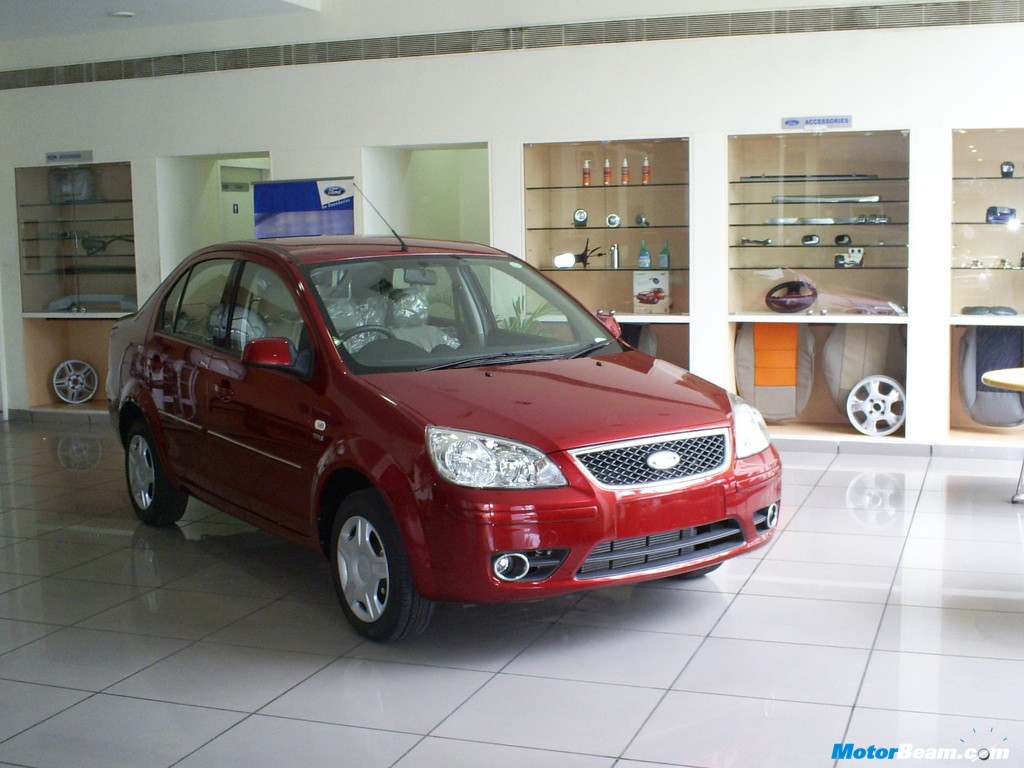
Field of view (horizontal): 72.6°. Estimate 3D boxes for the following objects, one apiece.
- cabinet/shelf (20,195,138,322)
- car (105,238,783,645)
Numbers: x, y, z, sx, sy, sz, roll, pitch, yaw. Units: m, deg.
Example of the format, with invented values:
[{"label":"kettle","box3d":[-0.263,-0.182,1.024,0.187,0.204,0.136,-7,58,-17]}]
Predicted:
[{"label":"cabinet/shelf","box3d":[-5.257,-1.569,8.796,1.853,1.499,0.634,-1,3,15]},{"label":"car","box3d":[-0.603,0.083,3.738,3.276,1.348,1.815,10,11,44]}]
